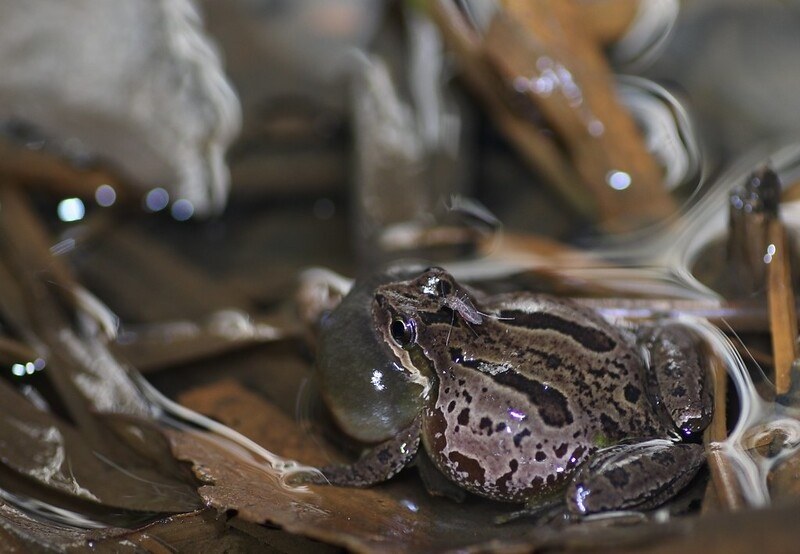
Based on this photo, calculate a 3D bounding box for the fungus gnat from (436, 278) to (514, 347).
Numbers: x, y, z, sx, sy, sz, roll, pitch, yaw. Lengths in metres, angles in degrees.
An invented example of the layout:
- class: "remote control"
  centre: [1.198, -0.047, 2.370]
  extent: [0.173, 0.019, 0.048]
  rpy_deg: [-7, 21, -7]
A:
- class: "fungus gnat"
  centre: [0.091, 0.045, 1.535]
  extent: [0.099, 0.095, 0.124]
  rpy_deg: [-4, 18, -12]

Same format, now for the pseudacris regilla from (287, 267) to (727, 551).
- class: "pseudacris regilla"
  centre: [0.148, 0.163, 1.482]
  extent: [0.561, 0.334, 0.161]
  rpy_deg: [10, -18, 5]
